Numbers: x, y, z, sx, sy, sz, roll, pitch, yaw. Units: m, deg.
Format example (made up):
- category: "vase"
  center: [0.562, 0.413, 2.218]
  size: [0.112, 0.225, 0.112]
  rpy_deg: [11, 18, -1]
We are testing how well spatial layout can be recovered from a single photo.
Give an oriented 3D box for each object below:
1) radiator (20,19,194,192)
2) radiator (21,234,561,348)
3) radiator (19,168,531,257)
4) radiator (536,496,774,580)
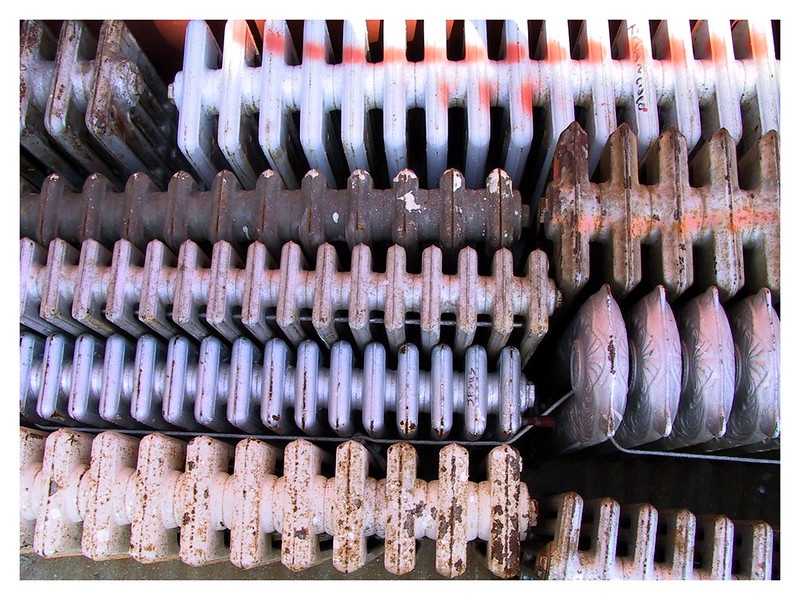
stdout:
- category: "radiator"
  center: [-0.874, -0.565, 2.395]
  size: [0.444, 0.692, 0.417]
  rpy_deg: [6, 87, 7]
- category: "radiator"
  center: [-0.346, 0.036, 2.252]
  size: [1.612, 0.409, 0.281]
  rpy_deg: [-1, 34, -8]
- category: "radiator"
  center: [-0.457, -0.267, 2.260]
  size: [1.537, 0.308, 0.309]
  rpy_deg: [1, 91, -3]
- category: "radiator"
  center: [0.701, 0.638, 2.192]
  size: [0.512, 0.177, 0.352]
  rpy_deg: [4, 84, 0]
